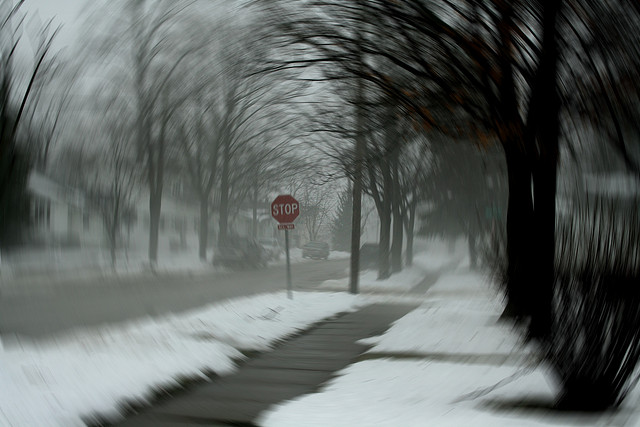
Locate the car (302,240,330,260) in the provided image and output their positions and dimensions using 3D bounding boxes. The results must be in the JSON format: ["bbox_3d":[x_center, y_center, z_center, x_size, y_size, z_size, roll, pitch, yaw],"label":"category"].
[{"bbox_3d":[-0.253,2.438,35.994,1.772,1.219,1.525,0,0,-1],"label":"car"}]

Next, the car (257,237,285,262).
[{"bbox_3d":[-2.367,1.716,26.097,0.887,0.912,2.135,-1,-11,5],"label":"car"}]

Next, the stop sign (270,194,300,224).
[{"bbox_3d":[-1.514,-0.208,23.135,1.116,1.672,0.171,-2,12,2],"label":"stop sign"}]
